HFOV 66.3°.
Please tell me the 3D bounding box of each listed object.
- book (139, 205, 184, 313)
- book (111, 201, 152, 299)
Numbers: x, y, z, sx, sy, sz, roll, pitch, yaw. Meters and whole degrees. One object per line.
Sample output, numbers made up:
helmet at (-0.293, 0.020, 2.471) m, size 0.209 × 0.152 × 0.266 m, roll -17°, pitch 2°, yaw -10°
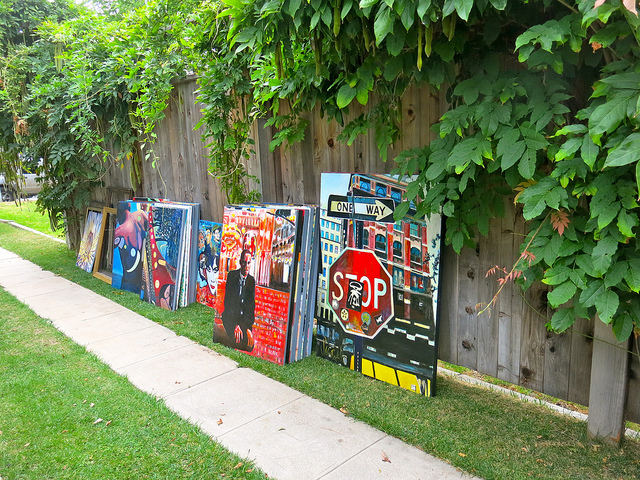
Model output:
book at (-1.704, 0.221, 5.334) m, size 0.138 × 1.409 × 0.921 m, roll 4°, pitch 1°, yaw -37°
book at (-2.183, 0.128, 5.729) m, size 0.113 × 1.249 × 0.867 m, roll 4°, pitch 5°, yaw -34°
